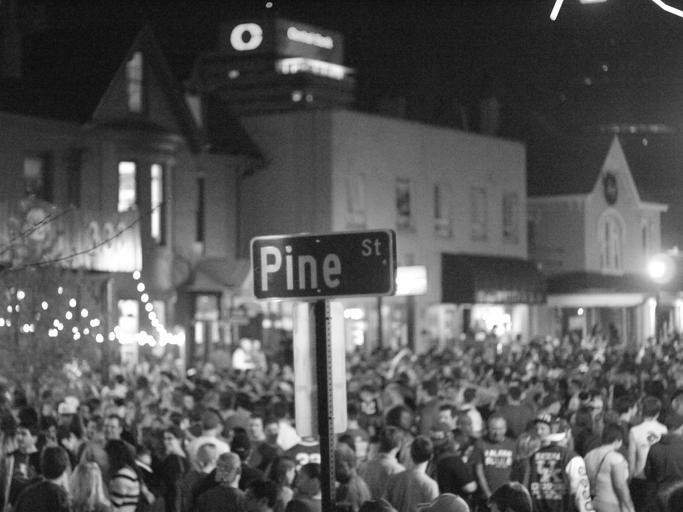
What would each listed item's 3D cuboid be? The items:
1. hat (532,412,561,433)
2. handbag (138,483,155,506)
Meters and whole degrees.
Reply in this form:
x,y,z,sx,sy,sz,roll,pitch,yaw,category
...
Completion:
x,y,z,sx,sy,sz,roll,pitch,yaw,category
2.210,1.849,14.947,0.201,0.233,0.167,-4,0,-15,hat
-2.218,2.715,15.050,0.187,0.259,0.091,6,14,18,handbag
